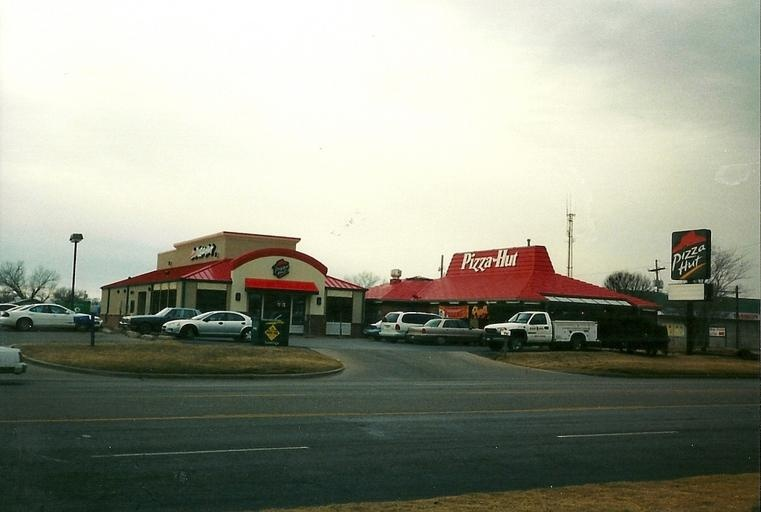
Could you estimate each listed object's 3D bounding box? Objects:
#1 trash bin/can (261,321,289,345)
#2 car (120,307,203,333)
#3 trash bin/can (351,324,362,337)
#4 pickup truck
[{"bbox_3d":[-5.529,3.880,35.999,1.585,1.108,1.327,-1,-4,16],"label":"trash bin/can"},{"bbox_3d":[-12.266,3.592,39.844,4.314,0.988,1.615,2,-4,-25],"label":"car"},{"bbox_3d":[-1.730,5.242,50.615,0.413,0.920,0.983,-6,-12,44],"label":"trash bin/can"},{"bbox_3d":[9.335,4.358,41.192,6.465,2.264,1.692,5,-9,-25],"label":"pickup truck"}]
